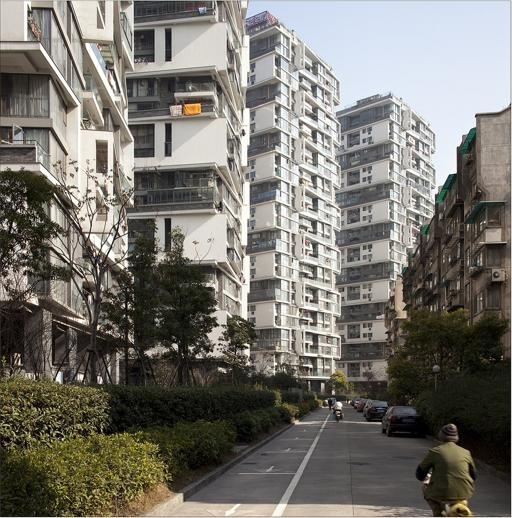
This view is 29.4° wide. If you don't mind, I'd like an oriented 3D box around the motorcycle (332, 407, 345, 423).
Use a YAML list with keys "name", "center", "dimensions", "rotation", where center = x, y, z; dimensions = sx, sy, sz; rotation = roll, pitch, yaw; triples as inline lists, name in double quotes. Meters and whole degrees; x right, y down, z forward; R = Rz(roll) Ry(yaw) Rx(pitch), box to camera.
- name: "motorcycle"
  center: [5.390, 10.124, 63.457]
  dimensions: [0.615, 0.898, 1.529]
  rotation: [0, -17, 3]

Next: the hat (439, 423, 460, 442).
- name: "hat"
  center: [3.164, 2.813, 15.861]
  dimensions: [0.258, 0.308, 0.295]
  rotation: [2, 1, 2]

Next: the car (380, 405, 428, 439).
- name: "car"
  center: [6.609, 7.180, 43.261]
  dimensions: [1.762, 1.380, 3.126]
  rotation: [0, -13, 9]

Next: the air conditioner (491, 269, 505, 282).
- name: "air conditioner"
  center: [13.312, 0.873, 53.593]
  dimensions: [0.592, 0.663, 0.667]
  rotation: [9, -11, 3]

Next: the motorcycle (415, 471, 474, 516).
- name: "motorcycle"
  center: [3.037, 3.761, 15.591]
  dimensions: [0.738, 0.679, 0.427]
  rotation: [0, -11, 11]
